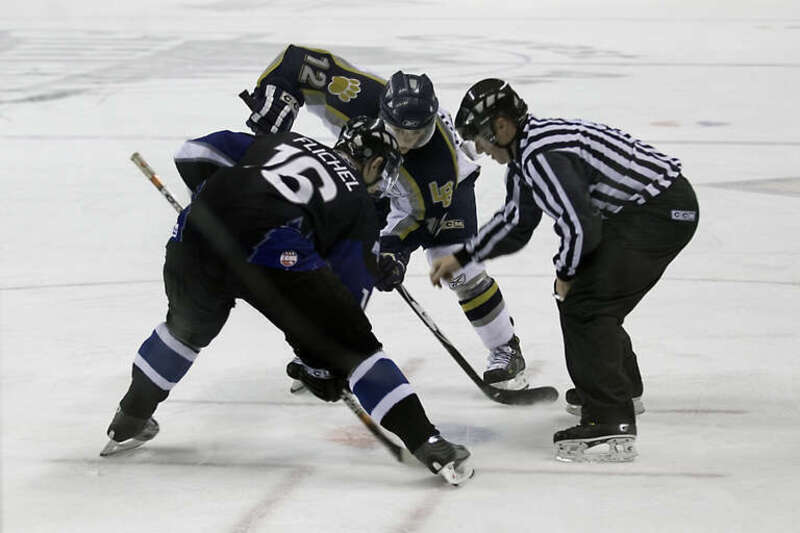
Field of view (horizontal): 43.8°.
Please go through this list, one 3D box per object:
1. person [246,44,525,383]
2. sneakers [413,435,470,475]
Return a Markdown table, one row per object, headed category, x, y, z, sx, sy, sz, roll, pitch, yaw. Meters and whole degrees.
| category | x | y | z | sx | sy | sz | roll | pitch | yaw |
| --- | --- | --- | --- | --- | --- | --- | --- | --- | --- |
| person | -0.002 | -0.309 | 5.480 | 1.595 | 1.647 | 1.098 | 17 | 33 | 23 |
| sneakers | 0.175 | 0.762 | 4.179 | 0.098 | 0.127 | 0.218 | -35 | -16 | 33 |
